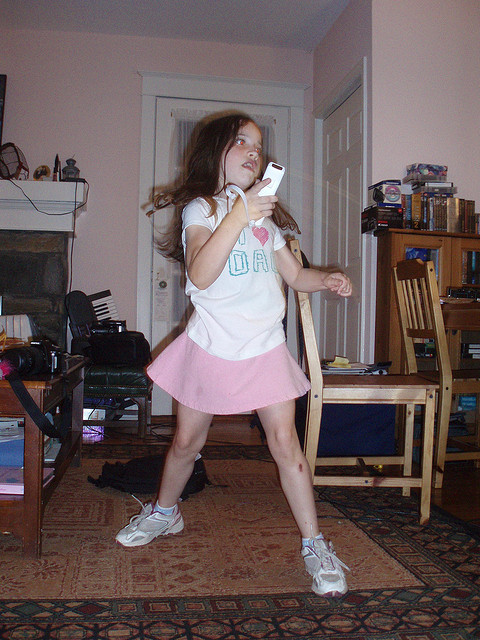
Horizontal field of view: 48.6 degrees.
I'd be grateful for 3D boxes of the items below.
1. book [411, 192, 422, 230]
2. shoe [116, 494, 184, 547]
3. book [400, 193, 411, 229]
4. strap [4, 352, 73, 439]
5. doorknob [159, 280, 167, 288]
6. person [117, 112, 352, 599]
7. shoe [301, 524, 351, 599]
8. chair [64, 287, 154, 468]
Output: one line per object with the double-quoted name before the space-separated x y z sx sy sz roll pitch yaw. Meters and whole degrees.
"book" 0.986 -0.602 2.957 0.050 0.180 0.138 2 5 22
"shoe" -0.249 0.566 1.552 0.234 0.156 0.078 -4 4 -24
"book" 0.918 -0.605 2.949 0.072 0.197 0.037 3 -3 -21
"strap" -0.513 0.210 1.391 0.145 0.223 0.062 -20 2 21
"doorknob" -0.567 -0.264 3.910 0.058 0.055 0.018 3 -1 0
"person" 0.001 0.046 1.538 0.620 1.179 1.046 1 -2 11
"shoe" 0.199 0.570 1.253 0.077 0.076 0.169 -3 3 -5
"chair" -0.757 0.294 3.298 0.525 0.871 0.627 13 -1 1
